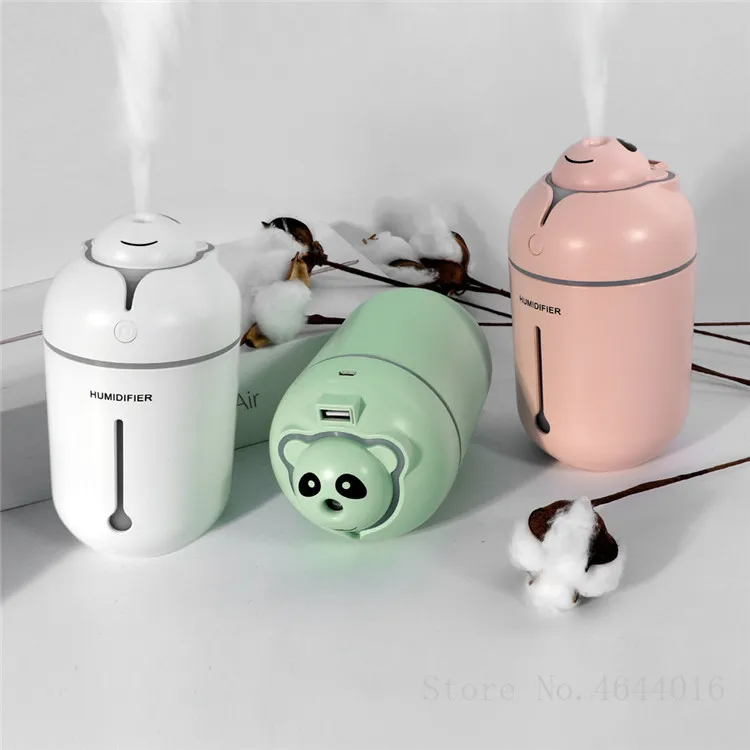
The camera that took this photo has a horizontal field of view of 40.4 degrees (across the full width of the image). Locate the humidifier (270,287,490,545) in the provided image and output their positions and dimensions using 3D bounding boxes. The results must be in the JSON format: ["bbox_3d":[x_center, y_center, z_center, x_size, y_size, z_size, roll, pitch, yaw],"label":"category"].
[{"bbox_3d":[0.008,0.029,0.832,0.145,0.154,0.240,5,23,12],"label":"humidifier"}]

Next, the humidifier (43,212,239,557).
[{"bbox_3d":[-0.157,0.013,0.794,0.188,0.241,0.160,6,17,7],"label":"humidifier"}]

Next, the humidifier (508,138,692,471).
[{"bbox_3d":[0.188,-0.052,0.848,0.147,0.283,0.117,-5,27,-7],"label":"humidifier"}]
